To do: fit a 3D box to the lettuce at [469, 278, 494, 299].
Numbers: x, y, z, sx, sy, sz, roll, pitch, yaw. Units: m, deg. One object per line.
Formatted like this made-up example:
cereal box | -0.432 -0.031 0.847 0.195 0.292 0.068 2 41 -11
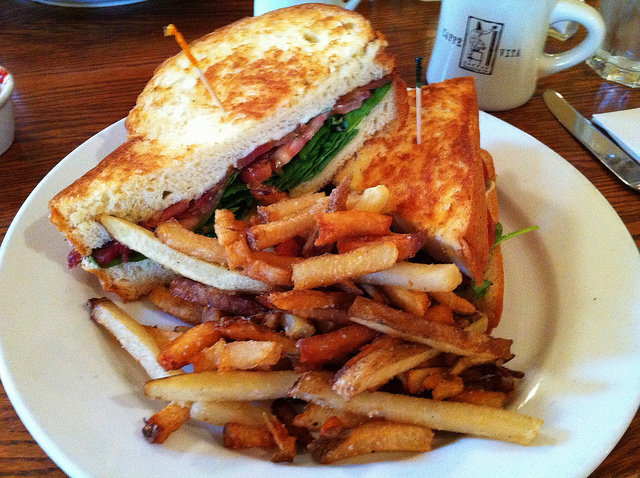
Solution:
lettuce | 0.538 0.169 1.915 0.090 0.057 0.022 -5 28 -13
